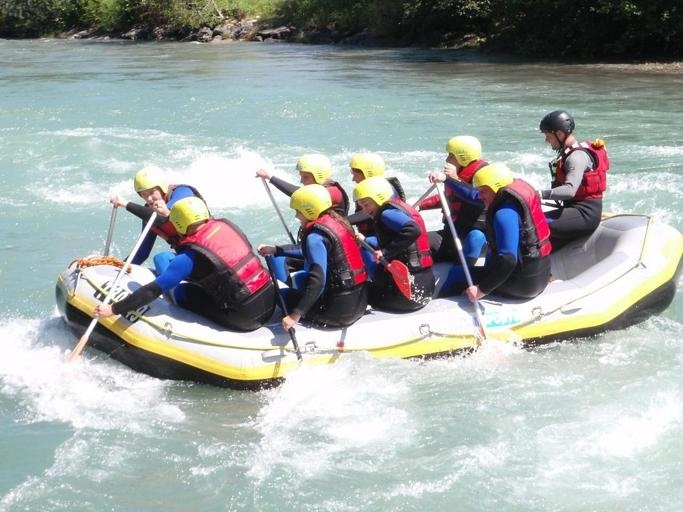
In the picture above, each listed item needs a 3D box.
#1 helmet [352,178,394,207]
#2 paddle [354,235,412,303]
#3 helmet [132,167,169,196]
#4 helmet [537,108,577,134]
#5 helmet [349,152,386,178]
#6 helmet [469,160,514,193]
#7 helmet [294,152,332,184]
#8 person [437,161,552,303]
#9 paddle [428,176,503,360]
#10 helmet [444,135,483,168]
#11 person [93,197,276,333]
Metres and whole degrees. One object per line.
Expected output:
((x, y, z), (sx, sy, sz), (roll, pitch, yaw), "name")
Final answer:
((0.312, -0.657, 7.138), (0.368, 0.203, 0.251), (-15, 17, 6), "helmet")
((0.512, 0.134, 7.122), (0.050, 0.260, 0.914), (-3, 31, -40), "paddle")
((-2.089, -0.791, 7.732), (0.276, 0.255, 0.348), (-6, 24, 31), "helmet")
((2.482, -1.529, 8.194), (0.330, 0.254, 0.410), (7, 16, 19), "helmet")
((0.300, -0.974, 7.847), (0.380, 0.252, 0.265), (-10, 30, -5), "helmet")
((1.520, -0.792, 7.223), (0.386, 0.277, 0.267), (28, 24, 8), "helmet")
((-0.283, -0.973, 7.902), (0.408, 0.288, 0.290), (-16, 22, -7), "helmet")
((1.692, -0.203, 7.171), (0.831, 1.406, 0.585), (4, 17, 11), "person")
((1.277, 0.057, 7.621), (0.396, 1.858, 0.153), (-25, -19, 3), "paddle")
((1.370, -1.215, 8.169), (0.427, 0.298, 0.296), (16, 27, 22), "helmet")
((-1.365, 0.092, 6.904), (1.454, 1.316, 0.523), (0, 16, -4), "person")
